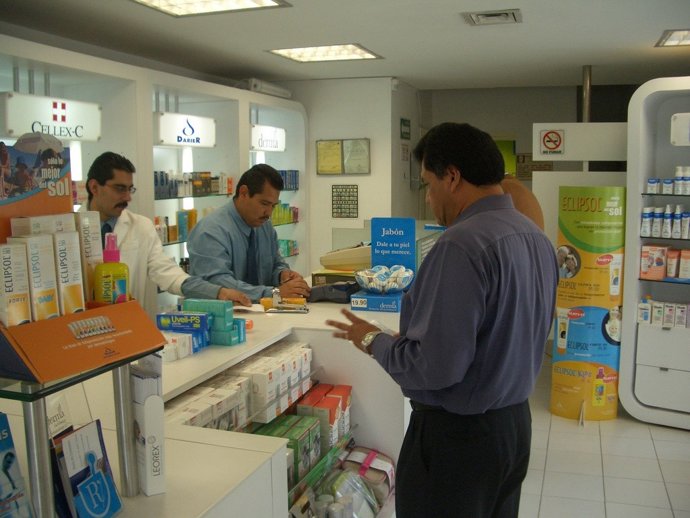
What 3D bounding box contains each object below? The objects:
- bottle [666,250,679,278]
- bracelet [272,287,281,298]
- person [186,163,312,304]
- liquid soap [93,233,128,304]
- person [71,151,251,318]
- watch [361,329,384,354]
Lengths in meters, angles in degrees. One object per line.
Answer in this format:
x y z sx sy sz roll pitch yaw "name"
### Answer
2.792 0.042 4.547 0.073 0.203 0.179 3 17 29 "bottle"
-0.455 0.224 3.556 0.049 0.066 0.052 0 -4 -6 "bracelet"
-0.705 -0.066 4.112 0.883 1.257 0.809 2 0 29 "person"
-0.681 0.042 1.561 0.101 0.256 0.063 -5 19 -35 "liquid soap"
-1.459 -0.111 3.938 0.713 1.324 1.451 -6 11 -28 "person"
0.107 0.325 2.183 0.056 0.089 0.087 16 34 19 "watch"
